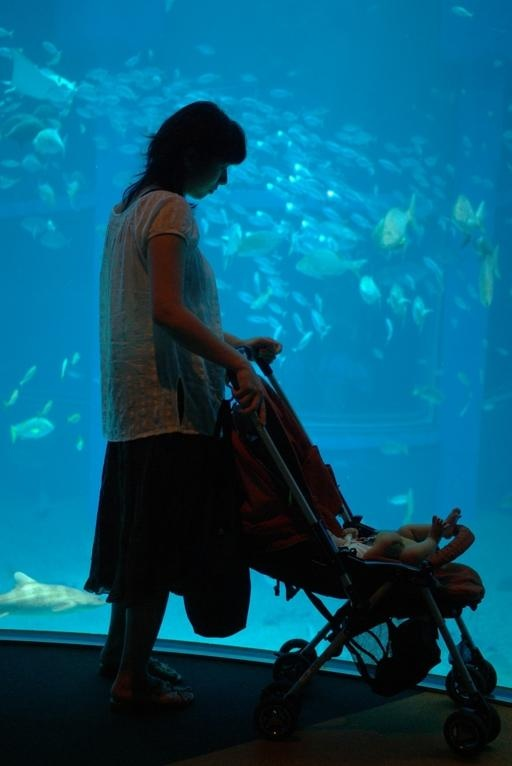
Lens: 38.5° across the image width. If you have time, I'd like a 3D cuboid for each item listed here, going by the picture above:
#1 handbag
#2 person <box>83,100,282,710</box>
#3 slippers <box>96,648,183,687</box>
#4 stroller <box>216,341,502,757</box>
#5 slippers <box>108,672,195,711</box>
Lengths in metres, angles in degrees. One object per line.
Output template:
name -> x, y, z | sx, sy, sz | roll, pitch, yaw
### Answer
handbag -> -0.129, 0.484, 2.753 | 0.191, 0.910, 0.232 | 3, 1, 18
person -> -0.296, 0.119, 2.733 | 0.521, 2.272, 0.760 | 2, 2, -24
slippers -> -0.477, 1.169, 3.081 | 0.417, 0.158, 0.144 | 0, -6, 8
stroller -> 0.353, 0.698, 3.557 | 1.561, 2.012, 1.016 | -2, 0, 5
slippers -> -0.399, 1.170, 2.799 | 0.311, 0.117, 0.142 | -1, -2, -13
